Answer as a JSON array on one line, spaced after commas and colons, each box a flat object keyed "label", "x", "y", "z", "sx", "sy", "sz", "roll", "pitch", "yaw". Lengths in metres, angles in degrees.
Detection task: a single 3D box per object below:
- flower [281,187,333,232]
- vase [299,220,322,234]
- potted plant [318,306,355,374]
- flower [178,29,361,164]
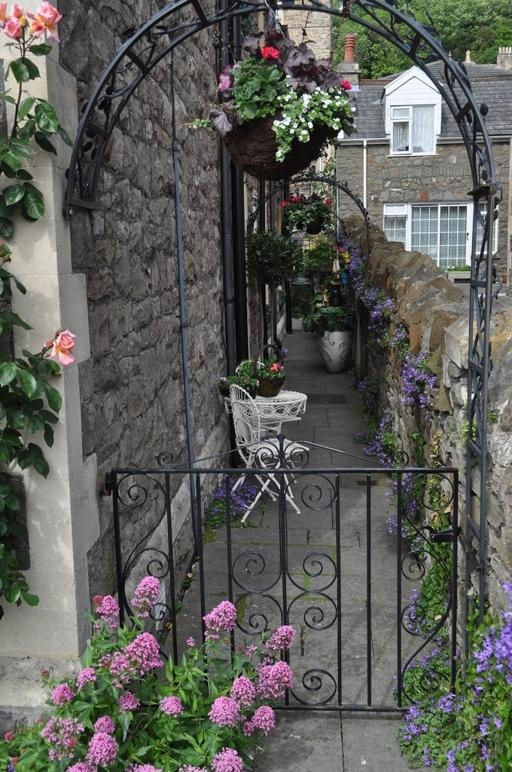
[{"label": "flower", "x": 0.819, "y": -2.744, "z": 13.037, "sx": 1.086, "sy": 0.781, "sz": 1.105, "roll": -1, "pitch": 2, "yaw": 3}, {"label": "vase", "x": 0.971, "y": -2.636, "z": 13.564, "sx": 0.253, "sy": 0.175, "sz": 0.225, "roll": -2, "pitch": 10, "yaw": -8}, {"label": "potted plant", "x": 1.061, "y": -0.604, "z": 10.752, "sx": 0.396, "sy": 0.880, "sz": 0.416, "roll": -3, "pitch": 6, "yaw": 5}, {"label": "flower", "x": 0.092, "y": -1.075, "z": 3.130, "sx": 0.566, "sy": 0.465, "sz": 0.429, "roll": -2, "pitch": 6, "yaw": 20}]
